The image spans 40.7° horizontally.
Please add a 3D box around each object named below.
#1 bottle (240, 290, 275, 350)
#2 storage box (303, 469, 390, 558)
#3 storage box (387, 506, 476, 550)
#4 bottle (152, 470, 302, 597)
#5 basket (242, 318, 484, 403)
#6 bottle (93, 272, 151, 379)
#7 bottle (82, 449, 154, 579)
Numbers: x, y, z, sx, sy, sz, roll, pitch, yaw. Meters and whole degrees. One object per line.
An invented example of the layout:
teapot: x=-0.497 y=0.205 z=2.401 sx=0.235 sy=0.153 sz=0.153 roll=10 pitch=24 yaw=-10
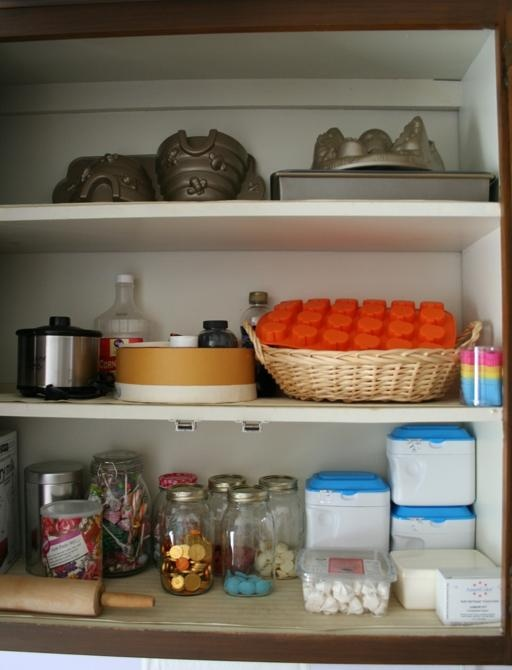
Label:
bottle: x=0.007 y=-0.031 z=1.467 sx=0.081 sy=0.114 sz=0.073 roll=-2 pitch=2 yaw=-10
storage box: x=0.179 y=0.347 z=1.399 sx=0.186 sy=0.132 sz=0.163 roll=2 pitch=3 yaw=-5
storage box: x=0.343 y=0.374 z=1.335 sx=0.138 sy=0.076 sz=0.097 roll=0 pitch=-6 yaw=0
bottle: x=-0.053 y=0.375 z=1.321 sx=0.255 sy=0.195 sz=0.207 roll=0 pitch=6 yaw=-9
basket: x=0.216 y=0.052 z=1.476 sx=0.581 sy=0.153 sz=0.380 roll=0 pitch=-2 yaw=5
bottle: x=-0.278 y=-0.023 z=1.514 sx=0.170 sy=0.247 sz=0.094 roll=0 pitch=-3 yaw=8
bottle: x=-0.308 y=0.369 z=1.419 sx=0.172 sy=0.232 sz=0.152 roll=1 pitch=-4 yaw=-15
